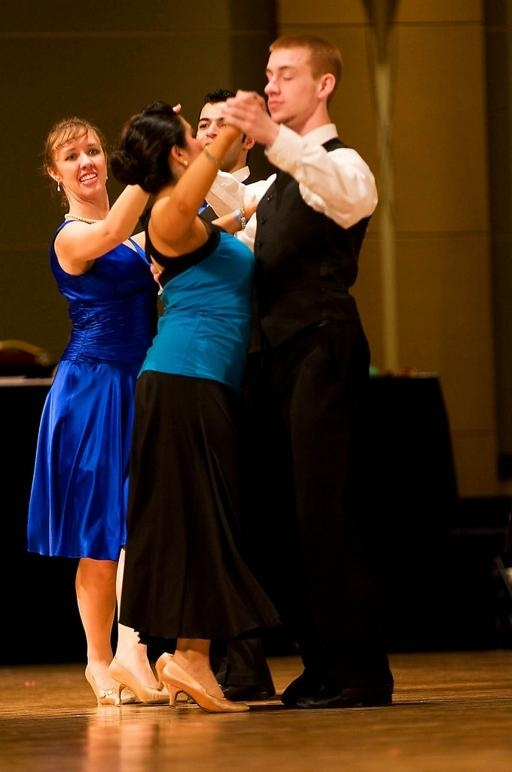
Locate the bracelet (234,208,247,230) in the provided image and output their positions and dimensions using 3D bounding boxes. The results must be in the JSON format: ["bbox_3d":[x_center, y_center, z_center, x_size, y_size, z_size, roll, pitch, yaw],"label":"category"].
[{"bbox_3d":[-0.036,-0.429,2.029,0.022,0.044,0.034,-5,11,-40],"label":"bracelet"}]

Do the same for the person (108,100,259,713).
[{"bbox_3d":[-0.147,0.103,1.707,0.304,1.386,0.451,-2,13,0],"label":"person"}]

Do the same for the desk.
[{"bbox_3d":[-0.076,0.500,3.117,1.344,0.615,1.293,-2,-2,7],"label":"desk"}]
